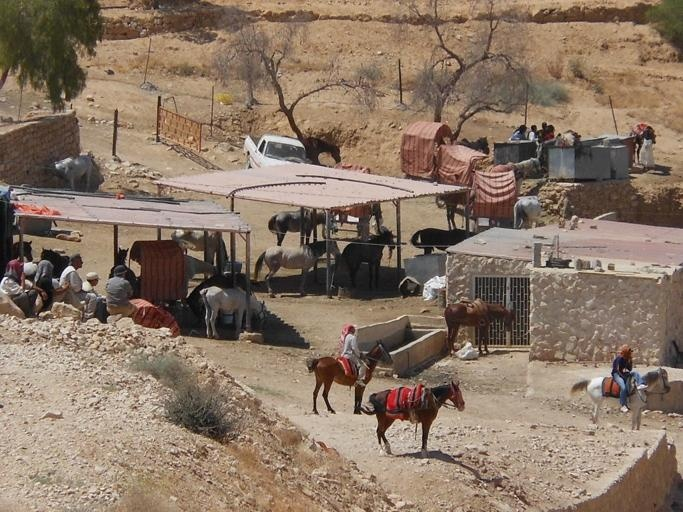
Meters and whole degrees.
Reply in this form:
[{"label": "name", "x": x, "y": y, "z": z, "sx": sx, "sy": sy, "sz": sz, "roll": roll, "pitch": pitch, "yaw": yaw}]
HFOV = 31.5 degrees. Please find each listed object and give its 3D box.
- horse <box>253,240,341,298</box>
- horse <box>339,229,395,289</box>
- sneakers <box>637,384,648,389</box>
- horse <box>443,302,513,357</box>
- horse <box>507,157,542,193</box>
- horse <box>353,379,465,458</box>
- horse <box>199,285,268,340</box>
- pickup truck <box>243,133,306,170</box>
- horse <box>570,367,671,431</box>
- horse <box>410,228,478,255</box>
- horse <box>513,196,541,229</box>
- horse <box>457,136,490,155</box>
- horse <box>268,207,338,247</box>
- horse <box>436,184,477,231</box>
[{"label": "horse", "x": -1.437, "y": 0.269, "z": 40.800, "sx": 2.133, "sy": 1.731, "sz": 3.167, "roll": 7, "pitch": 12, "yaw": 33}, {"label": "horse", "x": 0.945, "y": 0.095, "z": 41.718, "sx": 2.073, "sy": 1.766, "sz": 0.596, "roll": -8, "pitch": -11, "yaw": -3}, {"label": "sneakers", "x": 7.630, "y": 3.263, "z": 30.732, "sx": 0.238, "sy": 0.103, "sz": 0.106, "roll": -4, "pitch": -2, "yaw": 32}, {"label": "horse", "x": 4.095, "y": 2.071, "z": 35.849, "sx": 2.079, "sy": 1.594, "sz": 0.593, "roll": 2, "pitch": 1, "yaw": -4}, {"label": "horse", "x": 7.601, "y": -3.417, "z": 50.188, "sx": 0.872, "sy": 1.277, "sz": 2.147, "roll": 6, "pitch": 11, "yaw": 27}, {"label": "horse", "x": 1.605, "y": 3.614, "z": 27.600, "sx": 2.314, "sy": 1.800, "sz": 0.797, "roll": 0, "pitch": 6, "yaw": 3}, {"label": "horse", "x": -3.169, "y": 1.508, "z": 35.060, "sx": 1.778, "sy": 1.422, "sz": 1.018, "roll": -6, "pitch": 12, "yaw": -34}, {"label": "pickup truck", "x": -2.582, "y": -4.324, "z": 51.116, "sx": 2.173, "sy": 1.758, "sz": 2.597, "roll": -3, "pitch": 7, "yaw": -34}, {"label": "horse", "x": 7.126, "y": 3.621, "z": 31.156, "sx": 2.655, "sy": 1.751, "sz": 0.697, "roll": 2, "pitch": -1, "yaw": 32}, {"label": "horse", "x": 3.443, "y": -0.528, "z": 43.336, "sx": 1.962, "sy": 0.947, "sz": 1.407, "roll": 2, "pitch": 10, "yaw": 4}, {"label": "horse", "x": 7.006, "y": -1.693, "z": 45.130, "sx": 0.494, "sy": 1.227, "sz": 1.980, "roll": 3, "pitch": 10, "yaw": 32}, {"label": "horse", "x": 5.975, "y": -5.083, "z": 54.753, "sx": 1.283, "sy": 0.515, "sz": 0.873, "roll": 8, "pitch": 12, "yaw": 17}, {"label": "horse", "x": -1.413, "y": -0.954, "z": 43.896, "sx": 2.072, "sy": 1.427, "sz": 1.847, "roll": -7, "pitch": 10, "yaw": -23}, {"label": "horse", "x": 4.531, "y": -2.017, "z": 48.122, "sx": 0.565, "sy": 1.634, "sz": 2.262, "roll": -21, "pitch": 8, "yaw": -34}]
